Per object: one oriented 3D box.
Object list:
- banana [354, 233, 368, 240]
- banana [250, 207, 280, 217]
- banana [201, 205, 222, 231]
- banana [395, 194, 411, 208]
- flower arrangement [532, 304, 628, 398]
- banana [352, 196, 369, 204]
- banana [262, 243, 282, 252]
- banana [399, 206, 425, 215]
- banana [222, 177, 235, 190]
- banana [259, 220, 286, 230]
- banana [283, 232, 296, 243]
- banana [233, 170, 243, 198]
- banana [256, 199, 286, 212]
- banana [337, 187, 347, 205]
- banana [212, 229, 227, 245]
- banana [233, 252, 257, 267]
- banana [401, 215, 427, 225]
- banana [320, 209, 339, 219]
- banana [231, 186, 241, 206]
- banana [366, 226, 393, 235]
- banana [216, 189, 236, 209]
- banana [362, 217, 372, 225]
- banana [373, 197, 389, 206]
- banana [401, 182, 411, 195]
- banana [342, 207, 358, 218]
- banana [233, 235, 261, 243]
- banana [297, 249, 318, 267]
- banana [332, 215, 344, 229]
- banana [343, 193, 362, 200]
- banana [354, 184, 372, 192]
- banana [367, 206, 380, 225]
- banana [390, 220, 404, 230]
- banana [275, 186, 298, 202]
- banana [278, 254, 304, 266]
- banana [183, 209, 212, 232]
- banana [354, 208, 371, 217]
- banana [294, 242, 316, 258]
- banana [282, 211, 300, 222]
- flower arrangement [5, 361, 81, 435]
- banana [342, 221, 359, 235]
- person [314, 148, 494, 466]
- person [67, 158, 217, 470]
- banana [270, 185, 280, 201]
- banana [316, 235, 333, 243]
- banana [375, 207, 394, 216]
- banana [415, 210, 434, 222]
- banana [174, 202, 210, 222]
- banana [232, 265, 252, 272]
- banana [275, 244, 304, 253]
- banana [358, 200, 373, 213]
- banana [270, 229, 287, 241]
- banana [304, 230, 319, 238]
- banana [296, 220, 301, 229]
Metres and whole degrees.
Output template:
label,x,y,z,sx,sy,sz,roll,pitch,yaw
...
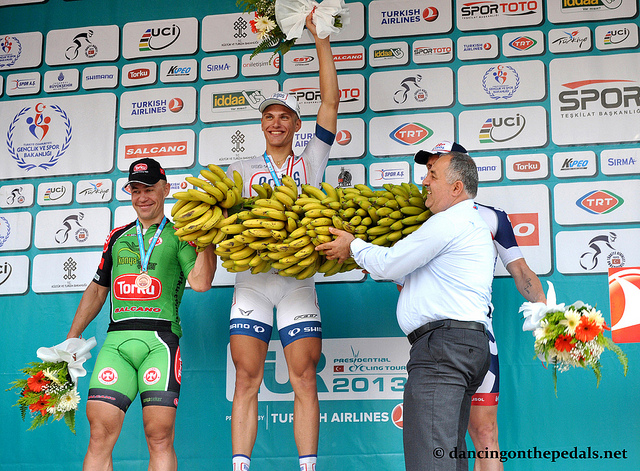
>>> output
label,x,y,z,sx,sy,sz,roll,pitch,yaw
banana,0.263,0.005,4.004,0.070,0.043,0.036,0,7,-8
banana,-0.327,-0.141,4.027,0.204,0.066,0.058,-5,-5,27
banana,-0.657,-0.115,4.046,0.104,0.219,0.052,-6,-50,19
banana,0.527,-0.227,4.093,0.087,0.089,0.044,-5,-13,6
flower arrangement,1.584,0.671,4.079,0.614,0.449,0.653,8,-7,-26
banana,0.258,-0.233,4.066,0.133,0.045,0.038,-13,4,-37
banana,-0.294,0.067,4.050,0.133,0.048,0.038,11,-27,38
banana,0.587,-0.160,4.042,0.198,0.059,0.068,1,-6,-9
banana,-0.567,-0.340,4.133,0.117,0.039,0.033,35,17,-16
banana,-0.282,-0.072,4.021,0.168,0.066,0.062,1,-14,-18
banana,-0.201,0.014,4.066,0.101,0.069,0.033,16,-27,49
banana,-0.512,-0.339,4.174,0.038,0.178,0.055,-21,19,-38
banana,-0.299,-0.193,4.048,0.234,0.090,0.066,-3,-7,-18
banana,0.149,-0.252,4.155,0.039,0.033,0.127,-19,28,0
banana,-0.625,0.006,4.060,0.152,0.040,0.051,-48,-18,23
banana,-0.468,0.144,4.109,0.141,0.085,0.053,3,-14,-23
banana,0.606,-0.088,4.054,0.183,0.055,0.063,-5,-8,-2
banana,0.065,-0.139,4.008,0.039,0.039,0.122,19,-5,-32
banana,-0.524,-0.262,4.143,0.046,0.142,0.037,-7,29,14
banana,0.373,-0.036,4.073,0.179,0.065,0.051,-4,-48,-20
banana,-0.585,-0.232,4.130,0.115,0.100,0.091,-14,-17,39
banana,0.300,-0.091,4.031,0.051,0.036,0.031,-20,-9,-7
banana,0.390,-0.225,4.060,0.100,0.056,0.041,-3,-13,0
banana,0.559,-0.315,4.218,0.029,0.038,0.111,10,29,-37
banana,0.193,-0.152,4.025,0.094,0.064,0.042,-2,-13,-6
banana,-0.454,0.017,4.051,0.159,0.045,0.063,-1,-14,-8
banana,-0.060,0.139,4.068,0.072,0.057,0.208,-17,4,25
banana,0.122,-0.084,4.004,0.086,0.076,0.035,9,-17,-41
banana,0.210,-0.258,4.063,0.112,0.037,0.033,-10,-9,-25
banana,0.278,-0.314,4.130,0.120,0.038,0.038,8,-38,23
banana,0.342,-0.125,4.068,0.047,0.151,0.041,-21,11,-33
banana,0.486,-0.059,4.022,0.103,0.039,0.031,-4,-1,-42
banana,-0.211,-0.275,4.140,0.137,0.116,0.094,-3,-13,-1
banana,-0.174,0.155,4.029,0.169,0.060,0.050,-24,-41,28
banana,-0.759,-0.106,4.040,0.178,0.144,0.060,0,-13,-14
banana,0.275,-0.140,4.051,0.038,0.040,0.130,-10,-17,41
banana,-0.072,0.085,4.047,0.188,0.055,0.061,-35,13,-35
banana,-0.167,-0.133,4.037,0.125,0.043,0.042,26,16,3
flower arrangement,-1.745,1.021,4.088,0.410,0.455,0.208,-12,5,9
banana,0.183,-0.053,4.007,0.117,0.065,0.040,17,5,-3
person,0.601,0.400,3.724,0.836,1.787,0.346,-6,-13,15
person,-1.180,0.490,4.353,1.101,2.054,0.403,-8,-14,21
banana,-0.281,-0.273,4.153,0.035,0.110,0.028,-4,10,-9
banana,0.036,0.017,3.970,0.105,0.036,0.071,4,-4,-15
banana,0.409,-0.154,4.021,0.138,0.050,0.042,-1,11,-41
banana,0.660,-0.127,4.027,0.153,0.053,0.043,-18,33,-31
banana,-0.789,-0.150,4.051,0.143,0.044,0.048,-33,2,-8
banana,-0.498,0.216,4.166,0.143,0.055,0.040,-7,-21,35
banana,-0.201,0.080,4.012,0.213,0.077,0.061,0,-22,7
banana,0.287,-0.186,4.038,0.062,0.116,0.200,4,1,7
banana,-0.253,-0.011,4.037,0.107,0.070,0.076,-2,-13,-5
banana,-0.043,-0.014,3.983,0.026,0.033,0.090,1,-8,-35
banana,-0.126,-0.072,4.057,0.019,0.060,0.015,10,-19,-42
